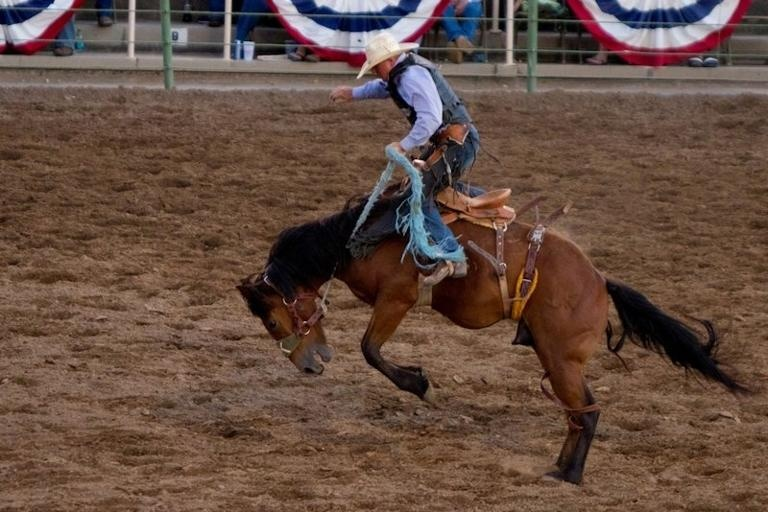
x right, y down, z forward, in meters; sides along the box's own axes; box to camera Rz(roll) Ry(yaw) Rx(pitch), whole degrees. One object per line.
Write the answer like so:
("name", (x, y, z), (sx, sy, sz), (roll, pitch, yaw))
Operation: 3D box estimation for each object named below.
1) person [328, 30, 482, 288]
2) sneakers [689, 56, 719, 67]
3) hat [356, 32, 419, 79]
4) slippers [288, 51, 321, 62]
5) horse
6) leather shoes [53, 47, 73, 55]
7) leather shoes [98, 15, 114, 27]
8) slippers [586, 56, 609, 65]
("person", (0.306, -0.873, 10.810), (0.818, 2.105, 1.247), (-8, 16, -34))
("sneakers", (4.553, -2.794, 17.763), (0.320, 0.080, 0.268), (-1, 5, -3))
("hat", (-0.036, -1.841, 10.692), (0.220, 0.370, 0.537), (-40, -38, 25))
("slippers", (-1.127, -2.761, 17.097), (0.510, 0.182, 0.165), (-4, 3, 44))
("horse", (1.105, 0.659, 11.198), (5.812, 2.138, 1.218), (9, 9, 39))
("leather shoes", (-4.425, -2.821, 17.025), (0.106, 0.089, 0.276), (6, 2, 31))
("leather shoes", (-4.058, -3.437, 18.062), (0.146, 0.113, 0.274), (-2, -2, -9))
("slippers", (3.010, -2.777, 17.539), (0.377, 0.120, 0.117), (11, 9, 39))
